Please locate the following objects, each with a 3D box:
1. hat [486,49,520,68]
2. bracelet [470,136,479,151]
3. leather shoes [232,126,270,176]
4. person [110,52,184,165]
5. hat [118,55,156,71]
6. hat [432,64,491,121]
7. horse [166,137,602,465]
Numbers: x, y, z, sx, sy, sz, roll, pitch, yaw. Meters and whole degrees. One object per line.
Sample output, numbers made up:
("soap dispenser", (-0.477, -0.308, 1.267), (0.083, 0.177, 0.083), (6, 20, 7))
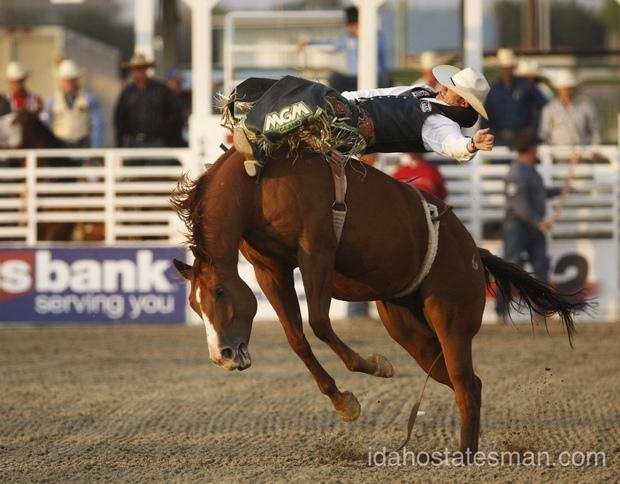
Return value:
("hat", (2.215, -2.042, 17.479), (0.222, 0.215, 0.227), (-2, 6, -1))
("bracelet", (1.311, -0.778, 12.481), (0.068, 0.122, 0.100), (1, 12, 6))
("leather shoes", (-0.490, -0.719, 12.544), (0.163, 0.503, 0.204), (-20, -6, 23))
("person", (-1.733, -1.520, 17.058), (0.920, 1.112, 0.448), (-11, 16, -42))
("hat", (-1.844, -1.930, 16.780), (0.336, 0.189, 0.278), (-2, 12, -7))
("hat", (1.276, -1.380, 12.935), (0.431, 0.419, 0.166), (24, -39, -33))
("horse", (0.702, 0.527, 13.157), (3.638, 2.309, 0.968), (14, -21, -20))
